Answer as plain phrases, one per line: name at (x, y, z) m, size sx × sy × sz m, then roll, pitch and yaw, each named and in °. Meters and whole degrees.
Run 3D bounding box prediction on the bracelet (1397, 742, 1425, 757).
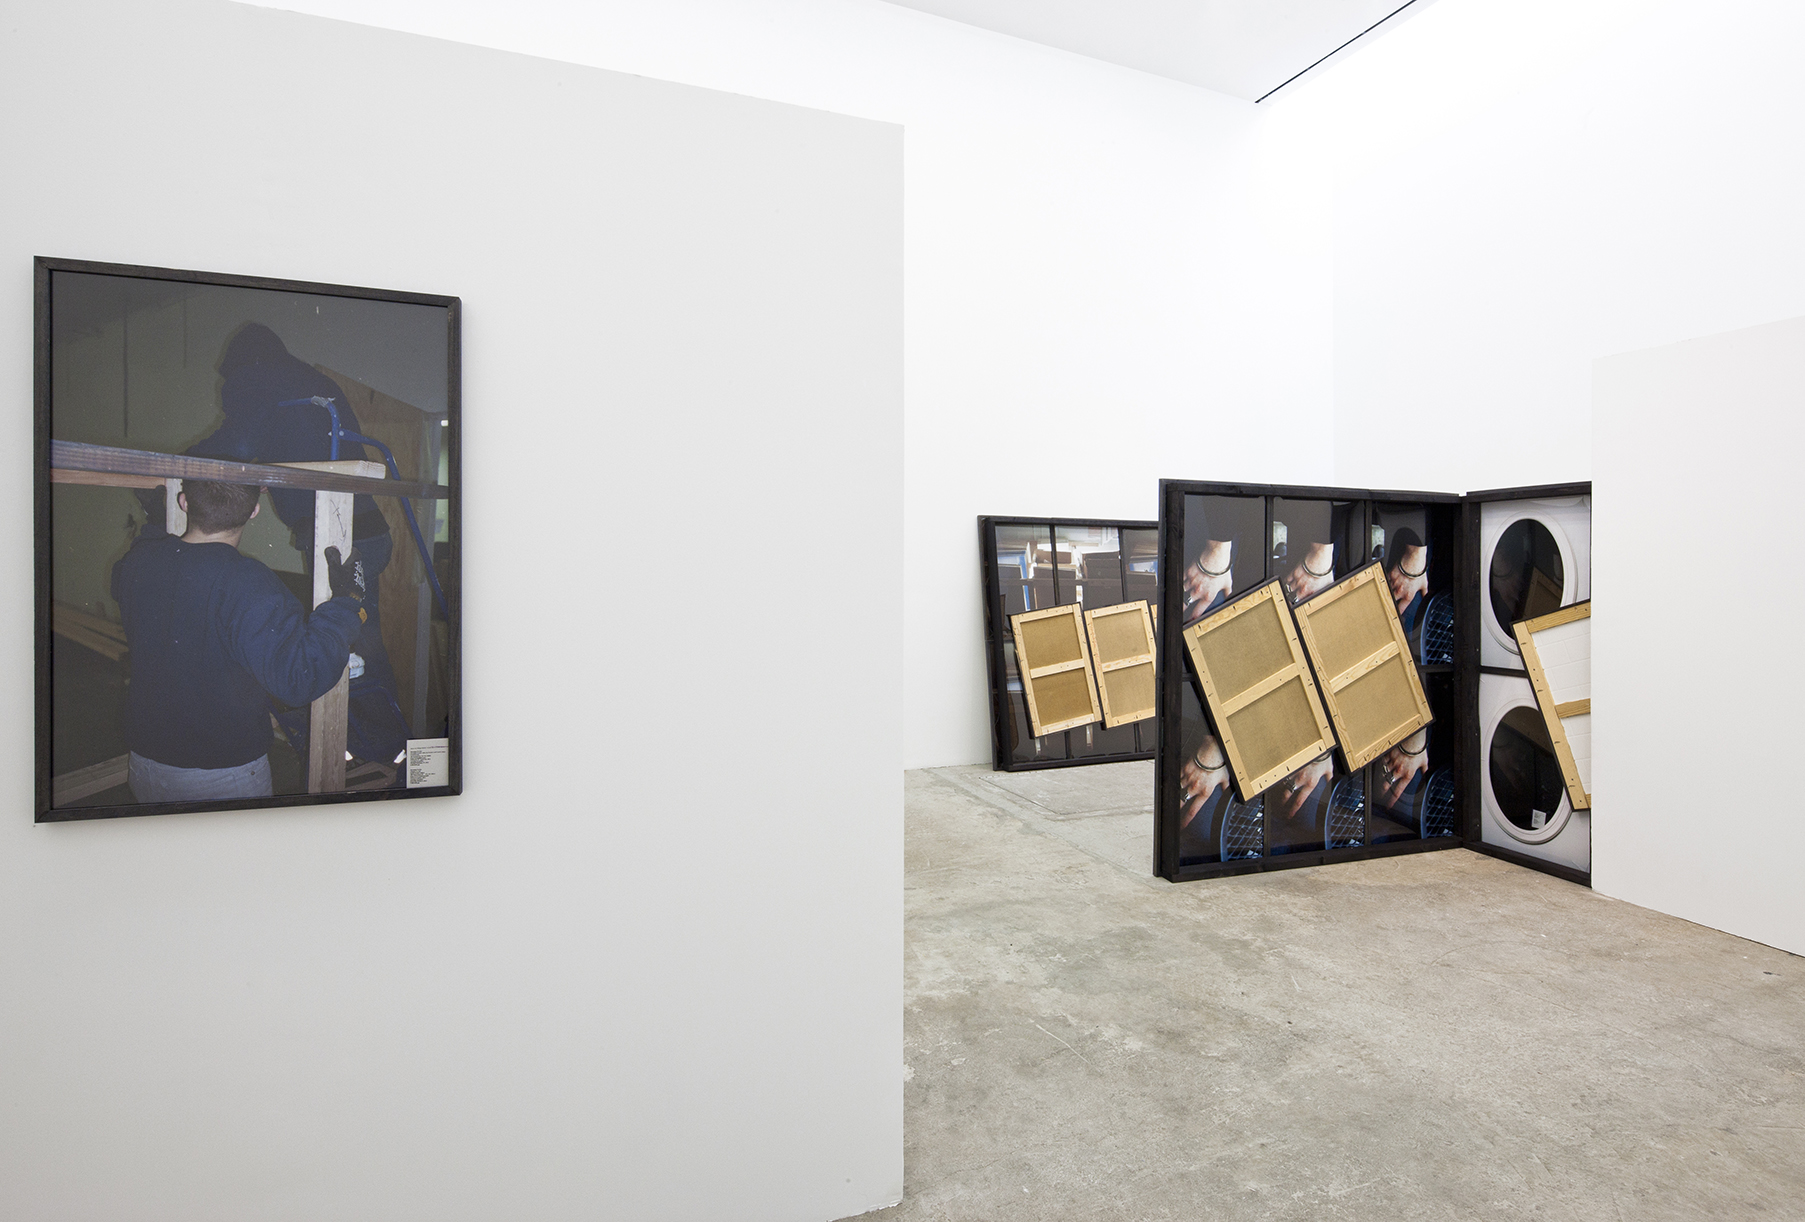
bracelet at (2.707, 0.739, 6.805) m, size 0.072 × 0.101 × 0.024 m, roll 42°, pitch 5°, yaw -7°
